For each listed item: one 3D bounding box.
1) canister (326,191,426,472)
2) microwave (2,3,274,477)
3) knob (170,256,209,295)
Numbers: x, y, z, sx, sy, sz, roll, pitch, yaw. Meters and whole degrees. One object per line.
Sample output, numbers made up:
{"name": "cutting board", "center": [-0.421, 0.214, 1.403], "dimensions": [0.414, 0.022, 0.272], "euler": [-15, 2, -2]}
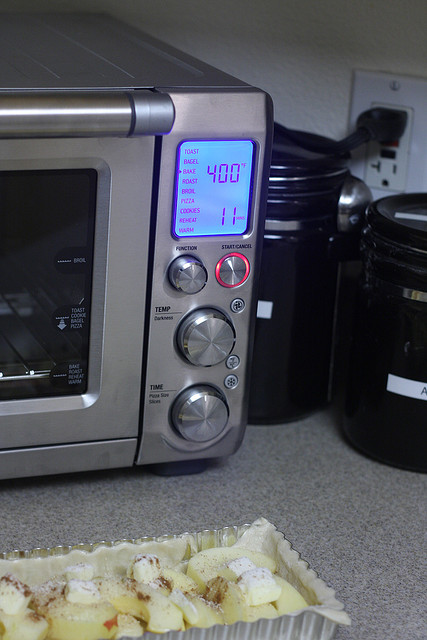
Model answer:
{"name": "canister", "center": [0.190, -0.009, 0.637], "dimensions": [0.098, 0.264, 0.299], "euler": [6, 16, 10]}
{"name": "microwave", "center": [-0.103, -0.064, 0.509], "dimensions": [0.205, 0.362, 0.232], "euler": [-7, 19, -30]}
{"name": "knob", "center": [-0.020, -0.036, 0.444], "dimensions": [0.029, 0.027, 0.015], "euler": [-4, 17, -29]}
